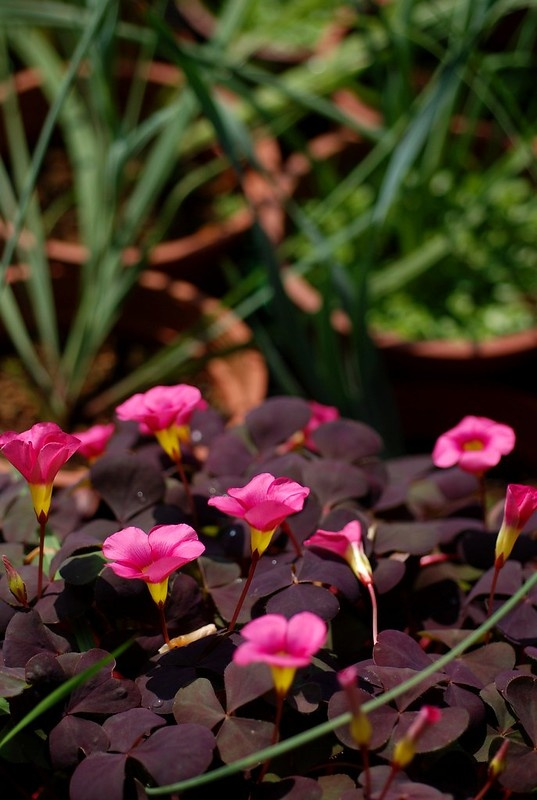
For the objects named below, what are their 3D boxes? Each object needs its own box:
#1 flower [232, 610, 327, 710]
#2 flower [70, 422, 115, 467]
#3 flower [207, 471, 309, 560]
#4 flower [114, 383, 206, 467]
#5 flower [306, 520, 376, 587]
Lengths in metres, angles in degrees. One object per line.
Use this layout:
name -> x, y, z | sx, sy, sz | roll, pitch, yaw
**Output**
flower -> 0.007, 0.122, 0.362 | 0.036, 0.022, 0.046 | -7, 20, 20
flower -> -0.183, 0.044, 0.766 | 0.045, 0.021, 0.044 | -21, -6, -44
flower -> -0.006, 0.073, 0.479 | 0.063, 0.034, 0.047 | -11, 23, 18
flower -> -0.084, 0.029, 0.647 | 0.094, 0.072, 0.058 | 5, 56, -14
flower -> 0.051, 0.112, 0.535 | 0.043, 0.051, 0.041 | -17, 21, 0
